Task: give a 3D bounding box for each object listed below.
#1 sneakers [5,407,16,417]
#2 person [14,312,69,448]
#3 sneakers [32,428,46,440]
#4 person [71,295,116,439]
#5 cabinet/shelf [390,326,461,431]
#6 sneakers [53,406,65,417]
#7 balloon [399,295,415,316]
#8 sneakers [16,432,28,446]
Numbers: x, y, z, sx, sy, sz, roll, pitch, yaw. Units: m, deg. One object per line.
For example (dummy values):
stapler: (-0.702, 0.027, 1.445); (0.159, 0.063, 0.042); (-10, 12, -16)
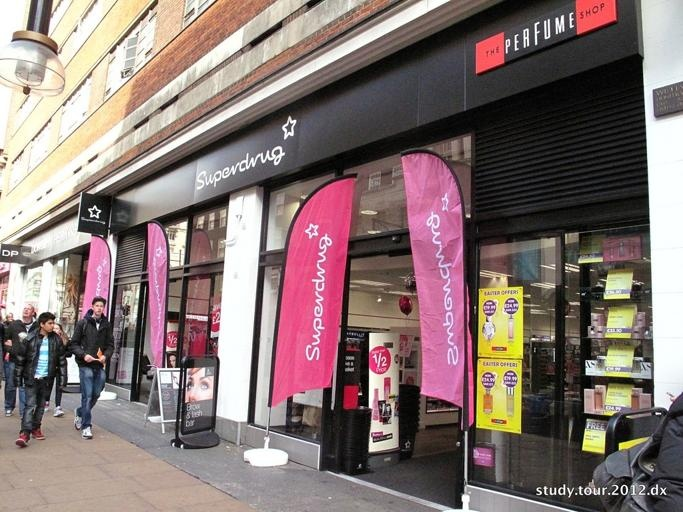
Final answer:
sneakers: (-6.453, 3.040, 9.359); (0.099, 0.130, 0.288); (4, -24, -26)
person: (-4.776, 1.868, 7.506); (0.523, 1.974, 0.885); (5, -9, -10)
sneakers: (-4.819, 2.816, 7.653); (0.307, 0.160, 0.107); (-5, -10, 42)
person: (-4.159, 1.807, 7.915); (0.617, 2.270, 0.473); (8, -9, -27)
cabinet/shelf: (1.819, 2.773, 11.052); (1.141, 2.304, 2.765); (-2, -11, 32)
sneakers: (-5.793, 3.167, 9.827); (0.171, 0.249, 0.515); (9, -19, -37)
balloon: (1.551, 1.144, 11.681); (0.232, 0.451, 0.764); (2, -9, 11)
sneakers: (-4.701, 2.689, 7.072); (0.149, 0.202, 0.244); (9, -10, -32)
